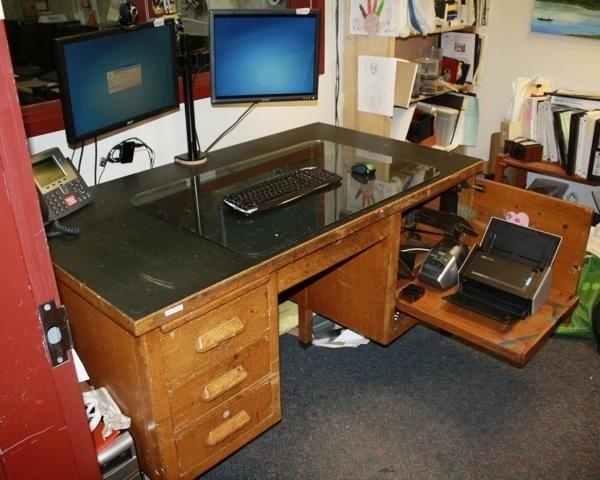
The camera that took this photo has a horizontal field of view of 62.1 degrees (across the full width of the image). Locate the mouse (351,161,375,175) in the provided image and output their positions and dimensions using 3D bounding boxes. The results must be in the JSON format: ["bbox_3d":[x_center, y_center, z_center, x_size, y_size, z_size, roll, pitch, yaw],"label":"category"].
[{"bbox_3d":[0.265,-0.294,2.060,0.075,0.034,0.054,4,16,37],"label":"mouse"}]

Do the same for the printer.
[{"bbox_3d":[0.822,0.114,1.989,0.313,0.166,0.464,21,58,32],"label":"printer"}]

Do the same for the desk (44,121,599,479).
[{"bbox_3d":[0.048,0.276,1.999,1.734,0.980,1.288,-17,33,-28],"label":"desk"}]

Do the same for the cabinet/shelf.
[{"bbox_3d":[0.579,-0.738,2.718,0.428,1.572,0.726,13,38,23],"label":"cabinet/shelf"}]

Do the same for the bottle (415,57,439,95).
[{"bbox_3d":[0.837,-1.078,3.298,0.180,0.265,0.195,-1,28,1],"label":"bottle"}]
